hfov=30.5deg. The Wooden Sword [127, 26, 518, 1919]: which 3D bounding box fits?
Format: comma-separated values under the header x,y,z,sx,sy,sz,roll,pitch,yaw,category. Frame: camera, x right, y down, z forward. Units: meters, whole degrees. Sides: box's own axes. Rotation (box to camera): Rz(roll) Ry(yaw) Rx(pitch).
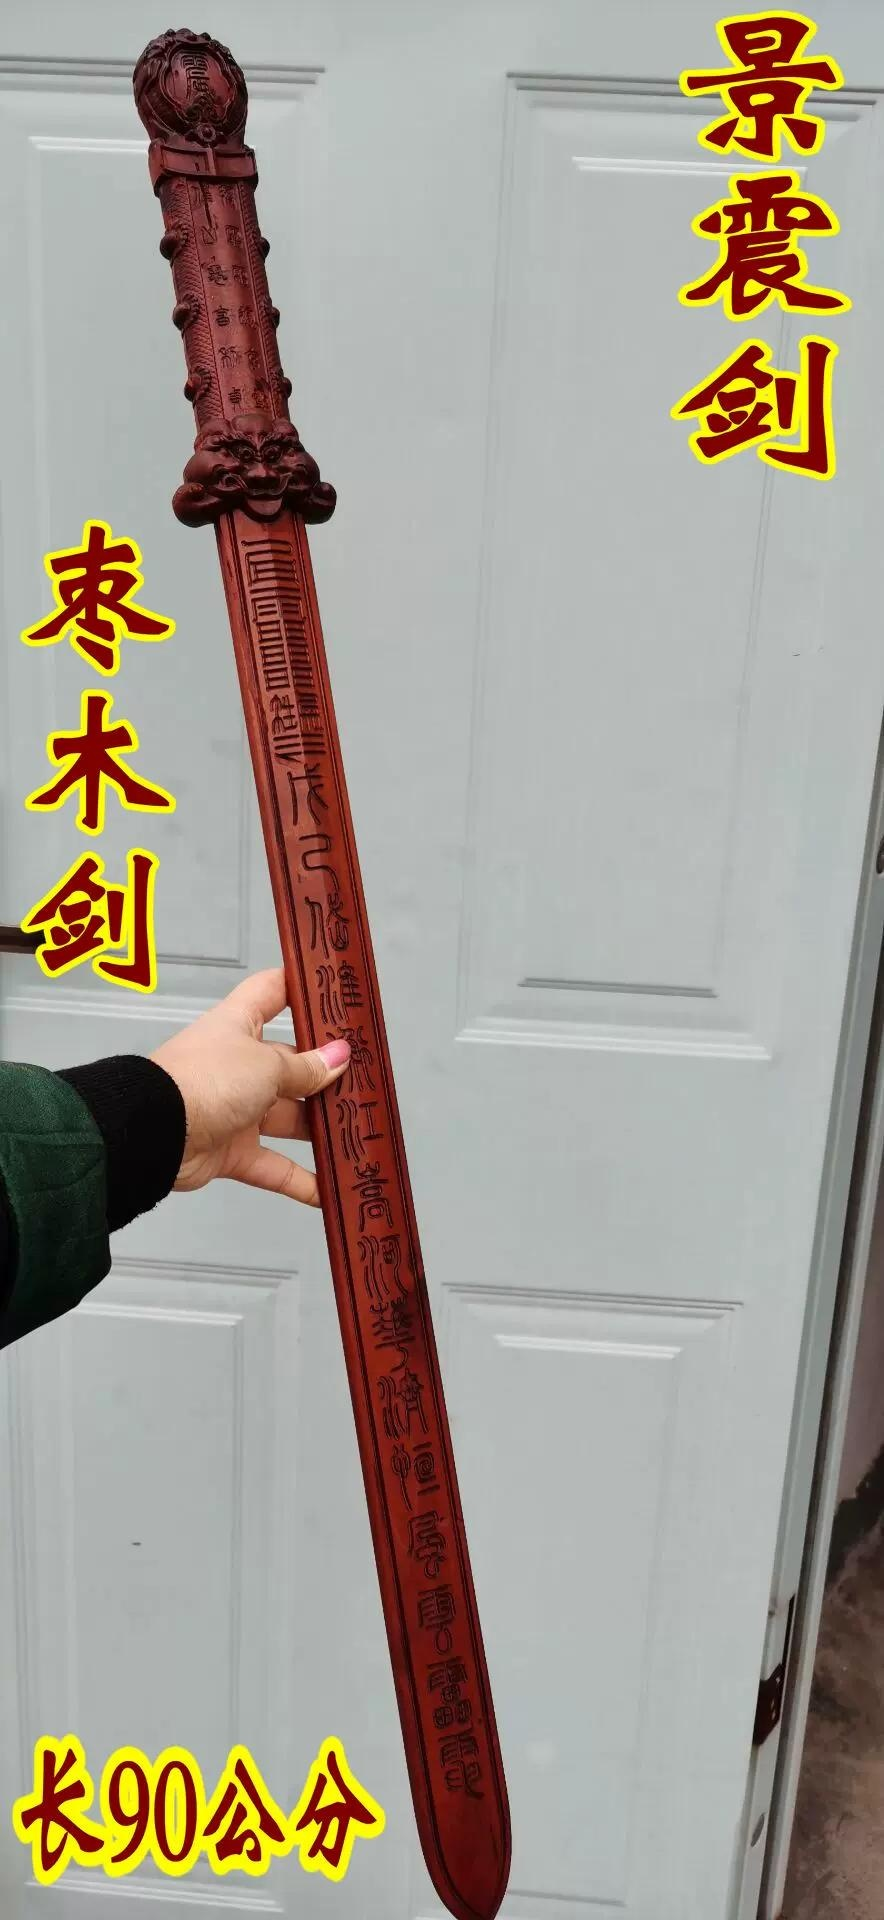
x,y,z,sx,sy,sz,roll,pitch,yaw,category
-0.097,-0.001,1.263,0.169,0.116,1.798,-6,-88,-15,Wooden Sword
